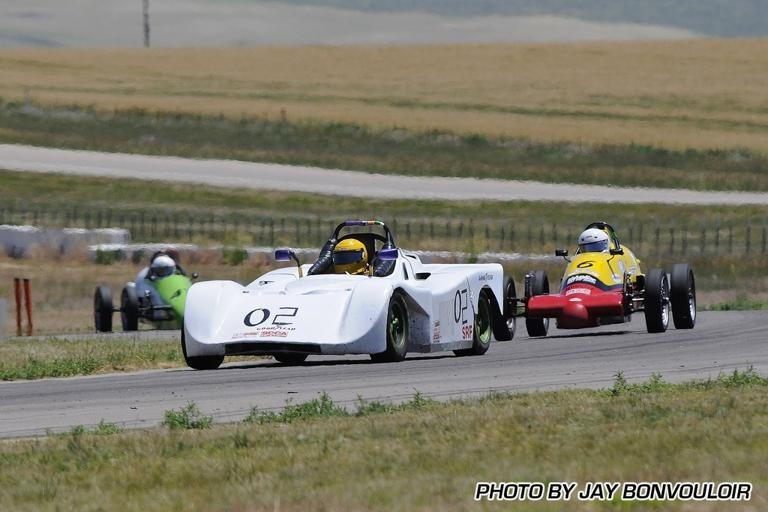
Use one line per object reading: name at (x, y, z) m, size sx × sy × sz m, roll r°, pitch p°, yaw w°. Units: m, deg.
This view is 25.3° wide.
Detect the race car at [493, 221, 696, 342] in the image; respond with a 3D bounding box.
race car at (6.784, 1.119, 50.927) m, size 3.447 × 2.735 × 8.051 m, roll 0°, pitch 1°, yaw 23°
